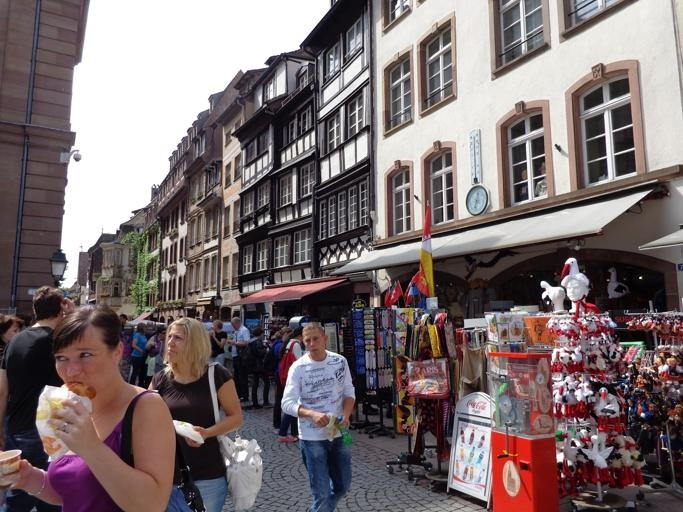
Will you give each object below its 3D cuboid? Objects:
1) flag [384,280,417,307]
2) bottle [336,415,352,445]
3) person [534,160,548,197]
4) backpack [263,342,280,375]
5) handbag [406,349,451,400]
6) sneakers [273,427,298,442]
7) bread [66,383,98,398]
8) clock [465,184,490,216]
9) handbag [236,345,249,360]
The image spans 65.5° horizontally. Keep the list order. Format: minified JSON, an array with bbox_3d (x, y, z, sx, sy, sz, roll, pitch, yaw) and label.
[{"bbox_3d":[1.429,0.890,12.727,0.865,0.914,0.131,4,-2,23],"label":"flag"},{"bbox_3d":[0.049,1.878,5.697,0.124,0.324,0.264,-5,-8,22],"label":"bottle"},{"bbox_3d":[4.516,-1.784,12.011,0.149,0.863,0.437,-1,-7,-10],"label":"person"},{"bbox_3d":[-1.675,2.506,12.842,0.458,0.794,0.306,1,2,6],"label":"backpack"},{"bbox_3d":[1.225,1.751,7.551,0.602,0.562,0.411,-4,-8,12],"label":"handbag"},{"bbox_3d":[-0.991,3.320,9.819,0.501,0.251,0.191,0,-1,-38],"label":"sneakers"},{"bbox_3d":[-1.654,0.855,3.394,0.121,0.050,0.103,23,-2,22],"label":"bread"},{"bbox_3d":[3.408,-1.415,13.298,0.118,0.828,0.731,5,-5,-22],"label":"clock"},{"bbox_3d":[-2.441,2.397,13.257,0.277,0.172,0.423,5,-6,-14],"label":"handbag"}]
